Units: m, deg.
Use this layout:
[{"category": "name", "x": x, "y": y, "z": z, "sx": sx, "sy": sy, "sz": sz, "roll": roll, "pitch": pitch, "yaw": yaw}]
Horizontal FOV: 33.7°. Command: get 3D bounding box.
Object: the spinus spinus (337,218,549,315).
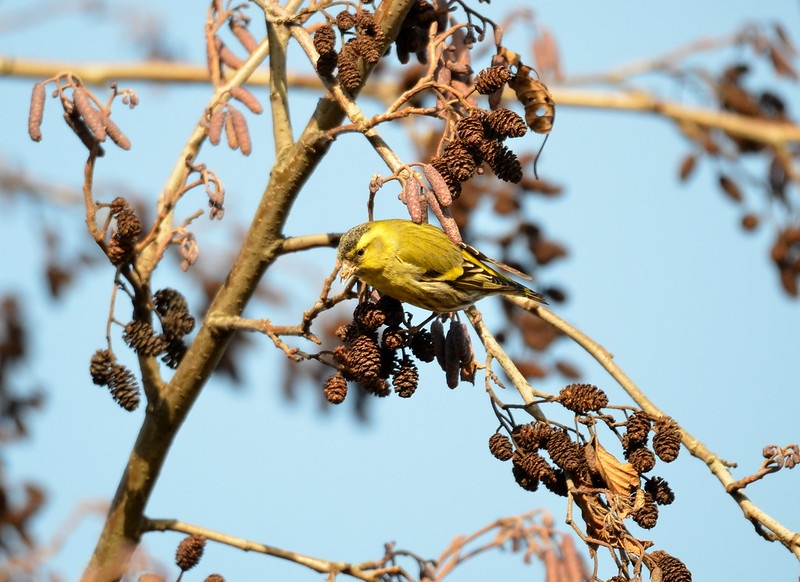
[{"category": "spinus spinus", "x": 0.257, "y": -0.125, "z": 7.212, "sx": 1.192, "sy": 0.419, "sz": 0.570, "roll": -3, "pitch": -73, "yaw": -17}]
